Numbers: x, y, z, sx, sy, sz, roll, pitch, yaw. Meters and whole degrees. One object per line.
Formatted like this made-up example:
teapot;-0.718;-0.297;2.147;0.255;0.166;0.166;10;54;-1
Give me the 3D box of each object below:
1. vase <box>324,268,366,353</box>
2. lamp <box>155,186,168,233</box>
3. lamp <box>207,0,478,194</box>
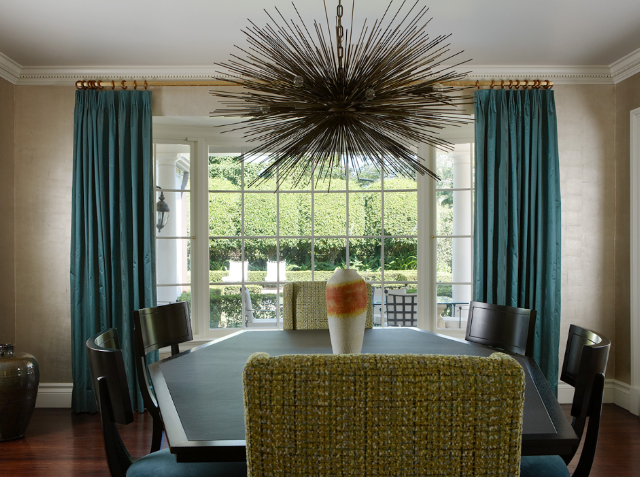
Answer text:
vase;0.113;0.354;2.708;0.201;0.409;0.249;2;13;1
lamp;-1.423;-0.268;5.084;0.114;0.390;0.083;-2;13;-16
lamp;0.184;-0.961;3.627;1.262;1.377;1.237;0;-6;-6
